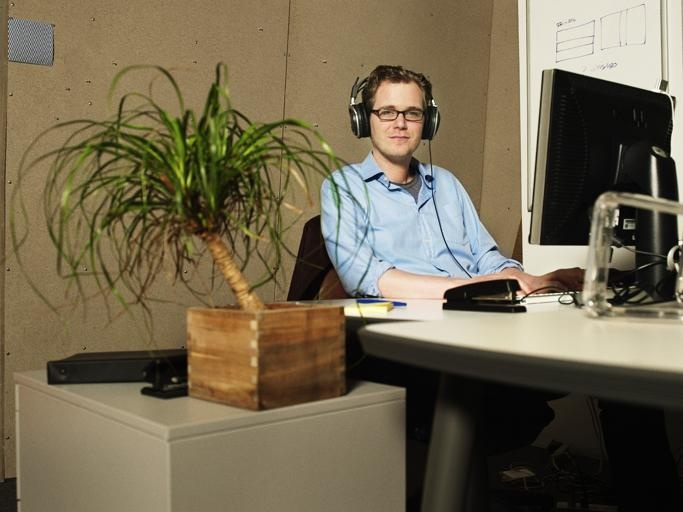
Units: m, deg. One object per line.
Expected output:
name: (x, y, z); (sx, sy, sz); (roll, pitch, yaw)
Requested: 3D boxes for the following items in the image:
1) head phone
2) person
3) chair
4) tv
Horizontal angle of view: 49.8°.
head phone: (0.189, -0.520, 2.887); (0.310, 0.268, 0.325); (1, -3, -6)
person: (0.342, 0.028, 2.520); (0.686, 1.555, 0.785); (-1, -10, -22)
chair: (0.183, 0.369, 2.185); (0.541, 1.298, 0.554); (2, -2, -40)
tv: (0.727, -0.250, 2.092); (0.227, 0.636, 0.456); (13, 7, 31)
